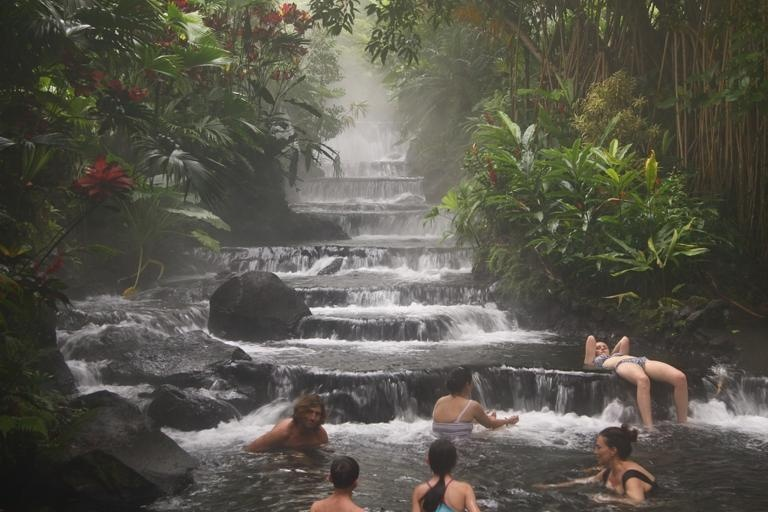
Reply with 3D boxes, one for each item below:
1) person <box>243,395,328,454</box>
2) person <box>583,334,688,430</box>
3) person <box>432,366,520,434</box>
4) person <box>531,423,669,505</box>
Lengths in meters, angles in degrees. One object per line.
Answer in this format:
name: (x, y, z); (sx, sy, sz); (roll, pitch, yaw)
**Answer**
person: (-1.000, 1.966, 8.112); (1.273, 0.699, 0.551); (4, 1, -30)
person: (3.285, 1.588, 9.456); (0.618, 0.904, 1.757); (-4, 6, -14)
person: (1.101, 1.839, 8.784); (1.192, 0.872, 0.792); (6, -2, -31)
person: (2.276, 2.098, 7.447); (0.912, 0.641, 0.796); (-2, -7, -2)
